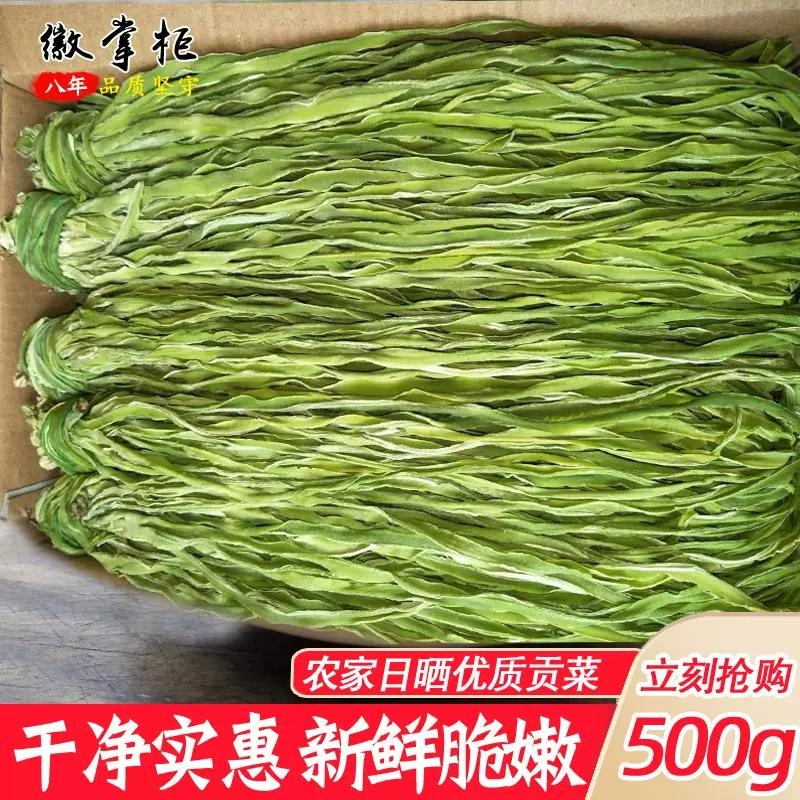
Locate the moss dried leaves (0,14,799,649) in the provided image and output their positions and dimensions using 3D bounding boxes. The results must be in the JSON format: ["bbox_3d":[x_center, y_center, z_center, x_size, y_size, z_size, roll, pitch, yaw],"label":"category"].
[{"bbox_3d":[0.003,-0.145,1.241,1.262,0.693,0.652,-12,39,-6],"label":"moss dried leaves"}]
